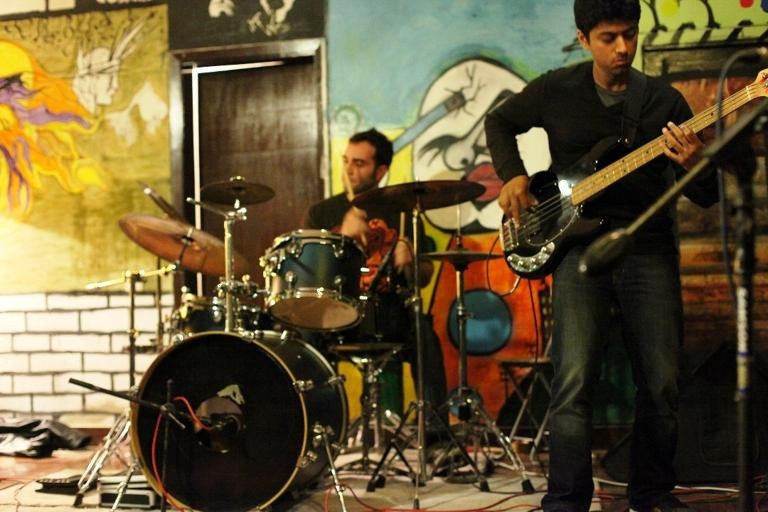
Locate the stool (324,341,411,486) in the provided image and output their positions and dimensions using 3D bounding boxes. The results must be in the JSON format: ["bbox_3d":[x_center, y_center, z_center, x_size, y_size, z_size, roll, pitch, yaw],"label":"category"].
[{"bbox_3d":[0.004,1.167,9.809,0.786,0.913,0.783,-12,1,9],"label":"stool"}]

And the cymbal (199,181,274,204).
[{"bbox_3d":[-1.075,-0.475,9.685,0.312,0.074,0.288,-2,-22,-7],"label":"cymbal"}]

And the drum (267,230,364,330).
[{"bbox_3d":[-0.516,0.182,9.328,0.714,0.396,0.683,1,-37,1],"label":"drum"}]
